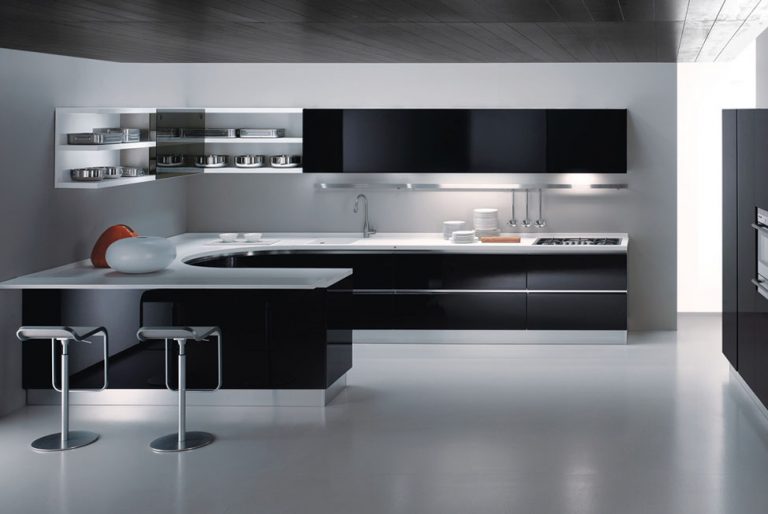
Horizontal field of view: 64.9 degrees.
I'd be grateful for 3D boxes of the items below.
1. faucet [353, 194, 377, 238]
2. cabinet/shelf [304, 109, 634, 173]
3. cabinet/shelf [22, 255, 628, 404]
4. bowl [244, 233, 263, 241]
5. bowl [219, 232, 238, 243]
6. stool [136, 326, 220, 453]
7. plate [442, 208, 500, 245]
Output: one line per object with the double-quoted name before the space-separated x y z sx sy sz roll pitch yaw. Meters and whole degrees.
"faucet" -0.269 -0.501 7.307 0.189 0.554 0.319 -14 -18 43
"cabinet/shelf" 0.869 -1.337 7.024 3.636 0.755 0.474 2 10 10
"cabinet/shelf" -0.309 0.498 5.804 5.459 1.470 1.733 5 -14 -28
"bowl" -1.512 -0.230 6.905 0.137 0.056 0.131 0 0 0
"bowl" -1.771 -0.219 6.824 0.152 0.067 0.148 -2 0 0
"stool" -1.464 0.934 4.372 0.567 0.872 0.919 2 -13 -16
"plate" 1.007 -0.362 6.969 0.624 0.272 0.363 0 3 2
